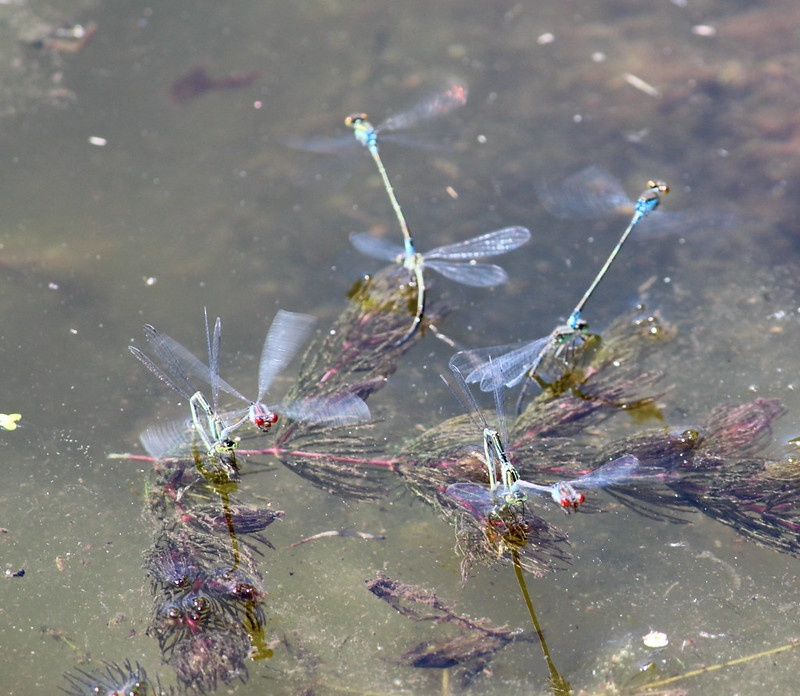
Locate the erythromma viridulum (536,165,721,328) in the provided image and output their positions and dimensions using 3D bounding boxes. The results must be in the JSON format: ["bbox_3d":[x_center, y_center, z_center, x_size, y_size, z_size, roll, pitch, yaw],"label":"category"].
[{"bbox_3d":[1.235,-0.699,6.065,0.952,0.489,0.948,29,92,20],"label":"erythromma viridulum"}]
